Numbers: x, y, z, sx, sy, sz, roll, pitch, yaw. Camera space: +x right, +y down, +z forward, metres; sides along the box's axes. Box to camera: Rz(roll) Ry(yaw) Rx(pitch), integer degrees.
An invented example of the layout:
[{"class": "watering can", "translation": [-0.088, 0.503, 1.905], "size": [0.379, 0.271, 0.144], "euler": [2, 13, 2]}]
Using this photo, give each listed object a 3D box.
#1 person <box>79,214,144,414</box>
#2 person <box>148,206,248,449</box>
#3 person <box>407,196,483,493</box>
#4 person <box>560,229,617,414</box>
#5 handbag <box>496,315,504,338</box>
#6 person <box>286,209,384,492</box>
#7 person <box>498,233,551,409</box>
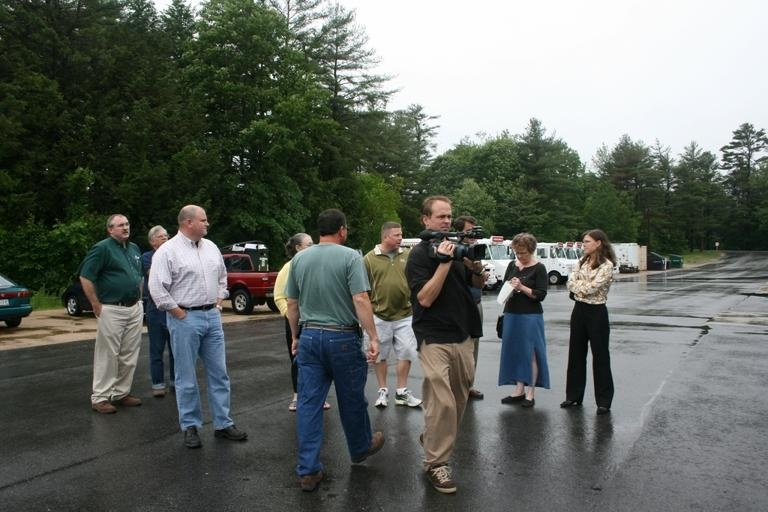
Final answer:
[{"class": "person", "translation": [-3.994, 0.829, 8.977], "size": [0.858, 2.845, 0.697], "euler": [-5, 7, -40]}, {"class": "person", "translation": [-2.443, 0.869, 7.780], "size": [1.035, 3.003, 0.859], "euler": [-2, 6, -21]}, {"class": "person", "translation": [0.717, 0.941, 6.772], "size": [0.716, 3.208, 0.759], "euler": [-3, 6, -29]}, {"class": "person", "translation": [3.035, 0.928, 8.884], "size": [0.725, 2.585, 0.855], "euler": [3, 6, 31]}, {"class": "handbag", "translation": [1.767, 1.089, 9.184], "size": [0.112, 0.443, 0.245], "euler": [3, 0, 13]}, {"class": "person", "translation": [-0.561, 1.005, 6.902], "size": [1.103, 3.060, 0.885], "euler": [-1, 5, -8]}, {"class": "person", "translation": [2.111, 0.941, 9.060], "size": [0.724, 2.545, 0.646], "euler": [1, 6, 10]}]
